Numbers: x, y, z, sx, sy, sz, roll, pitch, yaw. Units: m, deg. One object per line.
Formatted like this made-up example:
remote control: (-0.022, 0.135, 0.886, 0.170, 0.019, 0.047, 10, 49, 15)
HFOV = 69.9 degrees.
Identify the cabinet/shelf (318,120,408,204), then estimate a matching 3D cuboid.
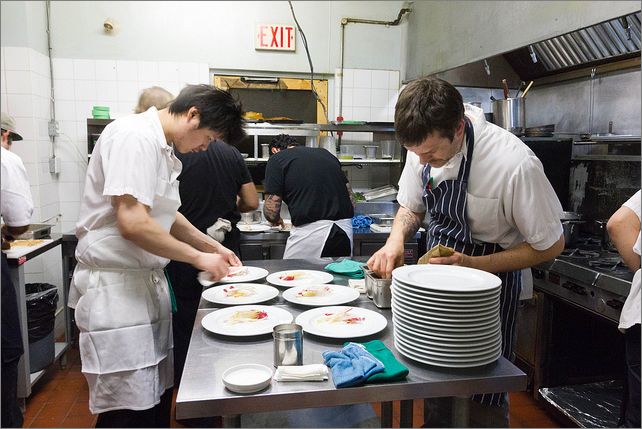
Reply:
cabinet/shelf: (0.484, -0.593, 5.343, 0.919, 0.863, 0.499, -3, 12, -3)

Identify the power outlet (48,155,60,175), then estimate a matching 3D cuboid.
power outlet: (-2.860, -0.531, 4.893, 0.071, 0.205, 0.214, -1, 3, -10)

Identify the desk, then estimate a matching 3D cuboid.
desk: (0.081, 0.645, 2.109, 1.373, 0.253, 0.525, -4, 11, -5)

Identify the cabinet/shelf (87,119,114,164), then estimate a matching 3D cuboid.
cabinet/shelf: (-2.375, -0.809, 5.006, 0.274, 0.438, 0.466, -5, 13, -21)

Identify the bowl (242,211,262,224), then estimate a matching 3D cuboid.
bowl: (-0.725, 0.032, 4.825, 0.185, 0.072, 0.108, -1, 1, -14)

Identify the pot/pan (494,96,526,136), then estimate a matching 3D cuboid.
pot/pan: (1.688, -0.885, 4.087, 0.274, 0.306, 0.268, 6, 18, 40)

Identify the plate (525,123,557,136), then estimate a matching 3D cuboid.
plate: (1.902, -0.722, 3.968, 0.134, 0.060, 0.184, -1, 5, -10)

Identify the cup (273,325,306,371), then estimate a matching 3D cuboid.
cup: (-0.125, 0.576, 2.018, 0.122, 0.137, 0.126, -2, 8, 0)

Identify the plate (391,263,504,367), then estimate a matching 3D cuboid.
plate: (0.541, 0.468, 1.971, 0.439, 0.257, 0.432, -1, 6, -5)

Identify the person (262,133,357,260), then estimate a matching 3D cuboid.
person: (-0.096, -0.091, 3.721, 0.733, 0.918, 0.329, -5, 11, -7)

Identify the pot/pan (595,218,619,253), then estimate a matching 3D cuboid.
pot/pan: (2.098, 0.162, 3.368, 0.219, 0.238, 0.200, 1, 14, 34)

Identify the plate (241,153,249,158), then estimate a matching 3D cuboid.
plate: (-0.819, -0.625, 4.874, 0.097, 0.040, 0.120, 0, -1, -1)

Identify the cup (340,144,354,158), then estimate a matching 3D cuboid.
cup: (0.289, -0.711, 5.190, 0.155, 0.113, 0.153, 0, 7, 0)

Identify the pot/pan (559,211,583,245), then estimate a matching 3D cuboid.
pot/pan: (1.982, 0.145, 3.590, 0.169, 0.172, 0.220, 0, 5, 19)
